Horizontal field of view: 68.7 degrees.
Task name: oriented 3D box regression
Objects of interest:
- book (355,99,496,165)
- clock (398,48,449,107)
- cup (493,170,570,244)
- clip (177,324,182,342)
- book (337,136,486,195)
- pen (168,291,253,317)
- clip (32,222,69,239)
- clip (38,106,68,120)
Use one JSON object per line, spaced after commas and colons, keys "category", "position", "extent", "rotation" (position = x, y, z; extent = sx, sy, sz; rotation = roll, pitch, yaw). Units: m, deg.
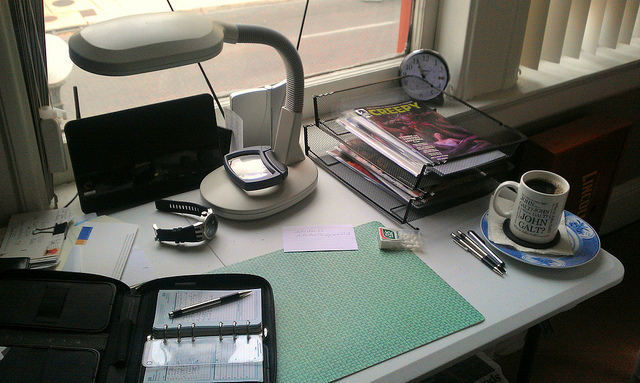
{"category": "book", "position": [0.344, -0.202, 1.519], "extent": [0.227, 0.034, 0.343], "rotation": [-18, 45, -32]}
{"category": "clock", "position": [0.400, -0.425, 1.787], "extent": [0.187, 0.168, 0.168], "rotation": [1, 50, 11]}
{"category": "cup", "position": [0.586, 0.033, 1.432], "extent": [0.276, 0.233, 0.168], "rotation": [-1, 33, 17]}
{"category": "clip", "position": [-0.361, 0.359, 1.198], "extent": [0.011, 0.015, 0.043], "rotation": [-8, 48, 4]}
{"category": "book", "position": [0.257, -0.076, 1.497], "extent": [0.255, 0.028, 0.280], "rotation": [36, 23, 28]}
{"category": "pen", "position": [-0.292, 0.293, 1.244], "extent": [0.216, 0.031, 0.021], "rotation": [-18, 49, -7]}
{"category": "clip", "position": [-0.800, 0.114, 1.389], "extent": [0.075, 0.018, 0.041], "rotation": [-5, 33, -18]}
{"category": "clip", "position": [-0.809, -0.238, 1.415], "extent": [0.026, 0.031, 0.067], "rotation": [8, 7, 31]}
